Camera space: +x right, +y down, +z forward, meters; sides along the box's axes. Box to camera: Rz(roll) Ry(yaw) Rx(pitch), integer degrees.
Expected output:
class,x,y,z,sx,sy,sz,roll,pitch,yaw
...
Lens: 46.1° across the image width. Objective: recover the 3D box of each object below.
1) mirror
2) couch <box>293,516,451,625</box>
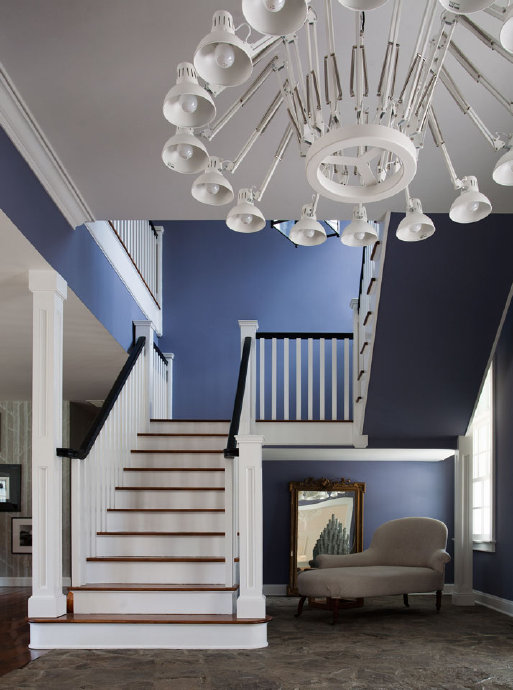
class,x,y,z,sx,sy,sz,roll,pitch,yaw
mirror,0.741,1.982,6.582,0.790,1.261,0.051,-2,28,4
couch,1.027,1.960,5.377,1.474,0.823,0.886,12,-17,-35
